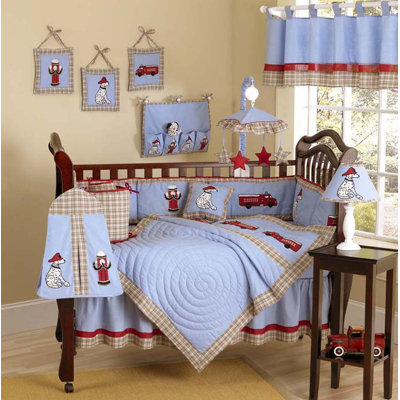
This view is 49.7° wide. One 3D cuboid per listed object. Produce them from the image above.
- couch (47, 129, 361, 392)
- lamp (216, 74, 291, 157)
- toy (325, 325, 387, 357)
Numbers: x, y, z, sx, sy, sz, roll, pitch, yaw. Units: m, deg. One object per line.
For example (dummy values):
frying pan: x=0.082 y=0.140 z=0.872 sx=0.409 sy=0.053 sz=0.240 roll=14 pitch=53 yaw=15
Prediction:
couch: x=-0.146 y=0.215 z=2.628 sx=1.375 sy=1.222 sz=0.549 roll=0 pitch=6 yaw=-16
lamp: x=0.340 y=-0.605 z=2.960 sx=0.508 sy=0.670 sz=0.508 roll=-3 pitch=15 yaw=-9
toy: x=0.691 y=0.626 z=1.897 sx=0.224 sy=0.116 sz=0.127 roll=1 pitch=-4 yaw=3
